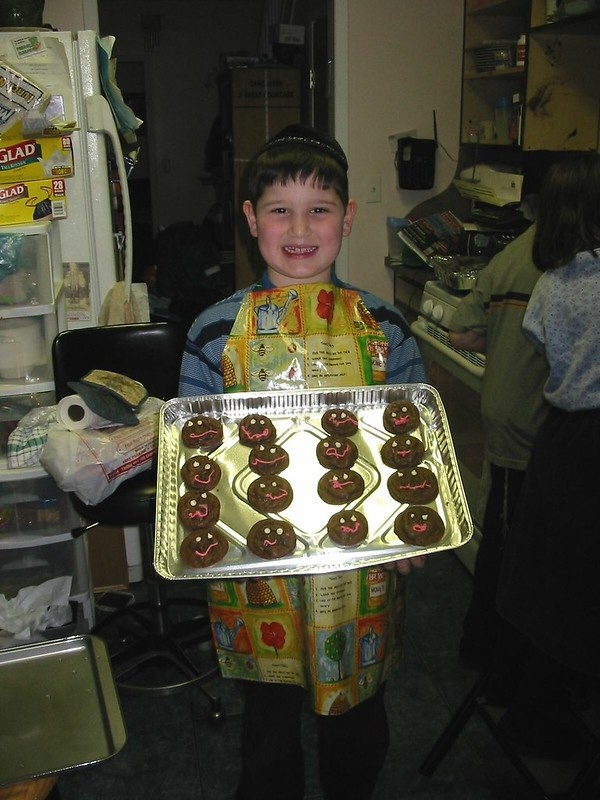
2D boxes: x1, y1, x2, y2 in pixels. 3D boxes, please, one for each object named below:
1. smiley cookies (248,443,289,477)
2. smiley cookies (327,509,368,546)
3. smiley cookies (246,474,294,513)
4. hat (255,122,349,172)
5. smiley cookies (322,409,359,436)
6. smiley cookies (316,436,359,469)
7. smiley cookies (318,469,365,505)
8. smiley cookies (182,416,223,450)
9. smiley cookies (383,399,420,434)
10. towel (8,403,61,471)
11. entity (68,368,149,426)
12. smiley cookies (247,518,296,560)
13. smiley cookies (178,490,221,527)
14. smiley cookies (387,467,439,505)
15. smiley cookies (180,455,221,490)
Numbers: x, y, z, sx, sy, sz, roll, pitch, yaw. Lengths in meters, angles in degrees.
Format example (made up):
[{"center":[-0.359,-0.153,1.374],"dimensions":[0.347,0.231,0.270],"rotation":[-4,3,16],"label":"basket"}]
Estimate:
[{"center":[-0.044,0.086,0.918],"dimensions":[0.054,0.038,0.041],"rotation":[-17,29,-31],"label":"smiley cookies"},{"center":[0.061,0.166,0.827],"dimensions":[0.054,0.031,0.047],"rotation":[-22,32,-38],"label":"smiley cookies"},{"center":[-0.040,0.130,0.880],"dimensions":[0.056,0.035,0.048],"rotation":[-15,29,-28],"label":"smiley cookies"},{"center":[0.013,-0.432,1.071],"dimensions":[0.099,0.029,0.106],"rotation":[29,15,28],"label":"hat"},{"center":[0.061,0.035,0.971],"dimensions":[0.056,0.040,0.042],"rotation":[-20,31,-36],"label":"smiley cookies"},{"center":[0.053,0.080,0.927],"dimensions":[0.060,0.039,0.049],"rotation":[2,25,6],"label":"smiley cookies"},{"center":[0.057,0.122,0.894],"dimensions":[0.066,0.035,0.045],"rotation":[1,25,5],"label":"smiley cookies"},{"center":[-0.142,0.052,0.942],"dimensions":[0.055,0.047,0.043],"rotation":[-23,33,-39],"label":"smiley cookies"},{"center":[0.153,0.029,0.973],"dimensions":[0.053,0.042,0.049],"rotation":[6,26,14],"label":"smiley cookies"},{"center":[-0.733,0.100,1.786],"dimensions":[0.152,0.184,0.062],"rotation":[-1,-19,1],"label":"towel"},{"center":[-0.476,-0.006,1.623],"dimensions":[0.134,0.128,0.174],"rotation":[3,25,9],"label":"entity"},{"center":[-0.035,0.174,0.809],"dimensions":[0.061,0.034,0.056],"rotation":[12,28,26],"label":"smiley cookies"},{"center":[-0.134,0.148,0.851],"dimensions":[0.055,0.034,0.054],"rotation":[-6,25,-11],"label":"smiley cookies"},{"center":[0.154,0.121,0.884],"dimensions":[0.069,0.042,0.045],"rotation":[4,26,11],"label":"smiley cookies"},{"center":[-0.138,0.106,0.892],"dimensions":[0.047,0.044,0.048],"rotation":[4,26,11],"label":"smiley cookies"}]
